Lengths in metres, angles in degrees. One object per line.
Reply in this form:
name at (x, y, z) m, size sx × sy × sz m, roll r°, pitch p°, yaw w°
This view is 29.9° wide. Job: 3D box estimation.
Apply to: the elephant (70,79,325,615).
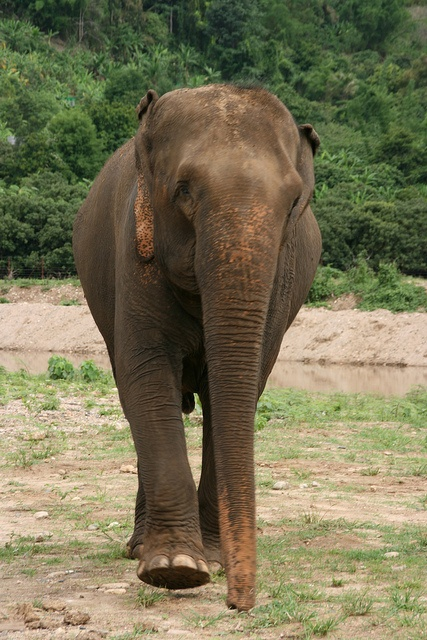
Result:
elephant at (-0.044, 0.073, 3.599) m, size 0.993 × 2.240 × 1.922 m, roll 0°, pitch -2°, yaw -8°
